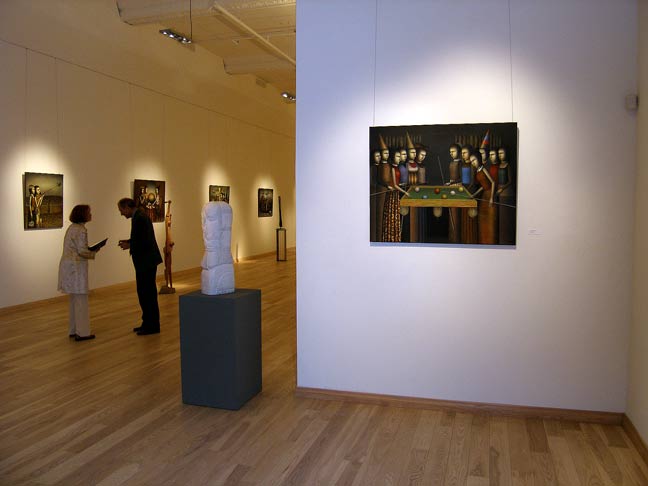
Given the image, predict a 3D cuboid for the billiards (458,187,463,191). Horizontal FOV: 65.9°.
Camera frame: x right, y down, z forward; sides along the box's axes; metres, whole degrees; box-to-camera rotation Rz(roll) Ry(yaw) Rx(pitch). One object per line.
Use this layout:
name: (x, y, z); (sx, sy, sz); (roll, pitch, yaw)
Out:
billiards: (1.501, -0.589, 5.464); (0.037, 0.033, 0.040); (4, 10, 26)

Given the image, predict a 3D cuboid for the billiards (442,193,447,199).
billiards: (1.334, -0.514, 5.506); (0.042, 0.053, 0.047); (1, 2, 21)

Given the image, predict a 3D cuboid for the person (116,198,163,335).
person: (-3.062, 0.407, 8.449); (0.642, 2.262, 0.826); (-4, 9, -25)

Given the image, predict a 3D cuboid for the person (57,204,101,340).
person: (-3.913, 0.499, 8.003); (0.602, 2.181, 0.518); (-6, 10, -31)
